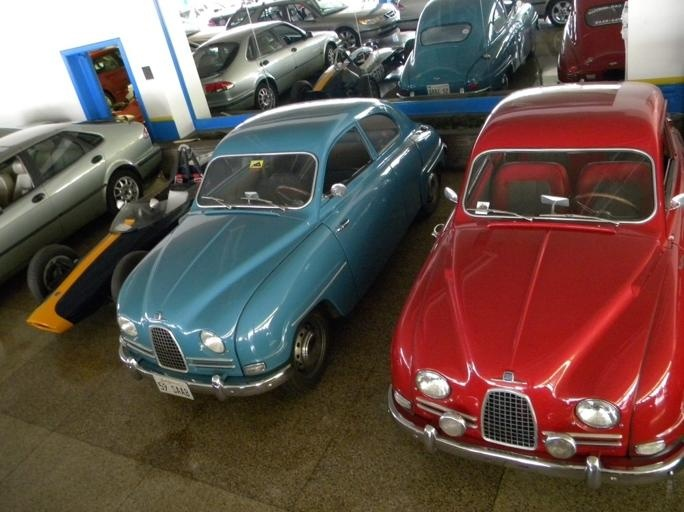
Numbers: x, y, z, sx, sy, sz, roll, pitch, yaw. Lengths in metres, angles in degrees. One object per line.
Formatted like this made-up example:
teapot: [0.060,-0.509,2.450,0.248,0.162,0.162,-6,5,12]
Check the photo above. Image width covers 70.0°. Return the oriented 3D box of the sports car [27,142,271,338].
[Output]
sports car: [-2.777,-0.407,6.551,1.700,0.978,3.388,4,41,36]

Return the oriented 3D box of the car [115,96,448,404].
car: [-0.452,-0.105,5.516,1.920,1.771,4.577,10,44,25]
